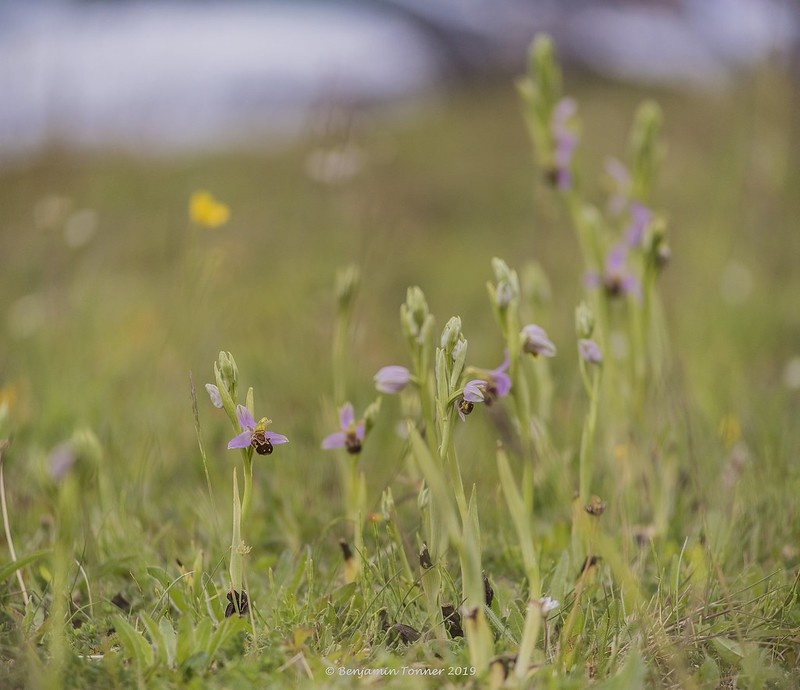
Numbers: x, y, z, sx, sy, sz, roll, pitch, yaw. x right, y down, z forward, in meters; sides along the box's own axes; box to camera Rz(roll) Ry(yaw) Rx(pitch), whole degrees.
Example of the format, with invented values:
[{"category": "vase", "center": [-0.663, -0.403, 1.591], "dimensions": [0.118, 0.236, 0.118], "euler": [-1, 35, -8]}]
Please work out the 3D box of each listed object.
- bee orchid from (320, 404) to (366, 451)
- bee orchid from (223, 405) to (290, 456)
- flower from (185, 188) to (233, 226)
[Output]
[{"category": "bee orchid", "center": [-0.098, 0.153, 1.723], "dimensions": [0.057, 0.091, 0.077], "euler": [13, 28, 27]}, {"category": "bee orchid", "center": [-0.234, 0.145, 1.590], "dimensions": [0.076, 0.041, 0.077], "euler": [25, -1, 43]}, {"category": "flower", "center": [-0.346, -0.243, 1.784], "dimensions": [0.075, 0.052, 0.035], "euler": [7, 25, 13]}]
